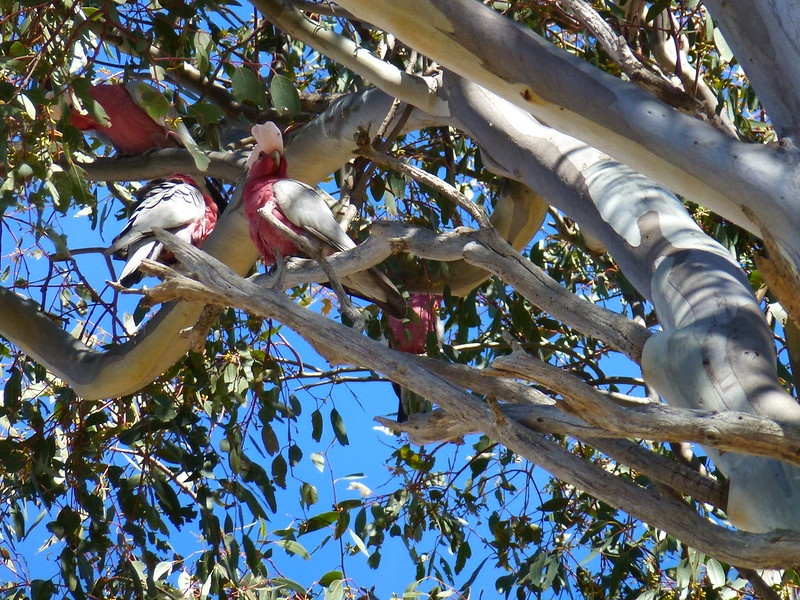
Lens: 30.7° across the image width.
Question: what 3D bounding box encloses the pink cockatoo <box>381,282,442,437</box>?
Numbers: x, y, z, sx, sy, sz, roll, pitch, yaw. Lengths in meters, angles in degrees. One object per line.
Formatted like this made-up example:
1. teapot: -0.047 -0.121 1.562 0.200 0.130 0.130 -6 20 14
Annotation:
1. pink cockatoo: 0.051 0.220 5.542 0.161 0.300 0.569 2 -80 -42

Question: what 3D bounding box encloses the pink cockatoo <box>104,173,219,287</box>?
1. pink cockatoo: -0.780 -0.243 4.964 0.203 0.492 0.395 -33 -37 30

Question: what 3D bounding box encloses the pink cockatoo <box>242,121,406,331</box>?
1. pink cockatoo: -0.276 -0.284 5.247 0.540 0.745 0.277 2 -21 -24
